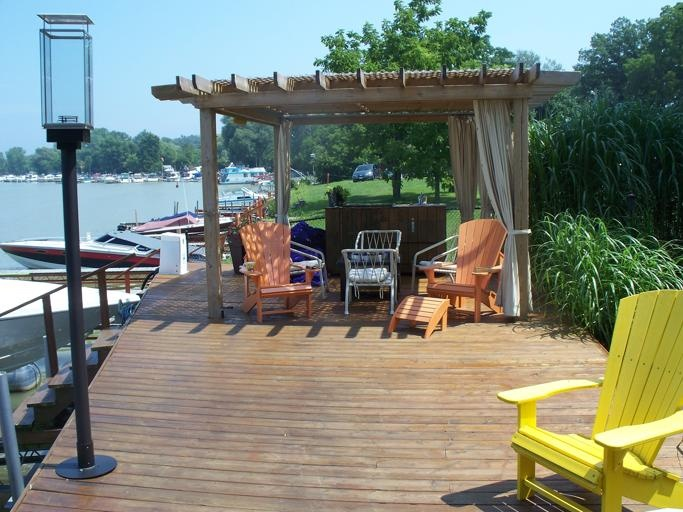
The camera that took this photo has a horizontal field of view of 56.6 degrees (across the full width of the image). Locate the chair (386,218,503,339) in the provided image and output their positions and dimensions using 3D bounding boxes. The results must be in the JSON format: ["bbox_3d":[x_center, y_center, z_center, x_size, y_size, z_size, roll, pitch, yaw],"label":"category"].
[{"bbox_3d":[1.485,0.228,8.109,0.926,1.241,1.866,9,18,38],"label":"chair"}]

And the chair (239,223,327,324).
[{"bbox_3d":[-0.979,0.206,8.719,1.051,1.319,1.397,-2,4,-20],"label":"chair"}]

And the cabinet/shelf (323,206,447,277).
[{"bbox_3d":[0.664,-0.187,10.725,2.128,1.140,0.708,0,-11,-12],"label":"cabinet/shelf"}]

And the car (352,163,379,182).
[{"bbox_3d":[1.743,-5.907,45.187,1.055,0.854,2.102,-1,5,16],"label":"car"}]

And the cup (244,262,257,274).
[{"bbox_3d":[-1.273,0.167,8.795,0.174,0.131,0.165,0,0,0],"label":"cup"}]
